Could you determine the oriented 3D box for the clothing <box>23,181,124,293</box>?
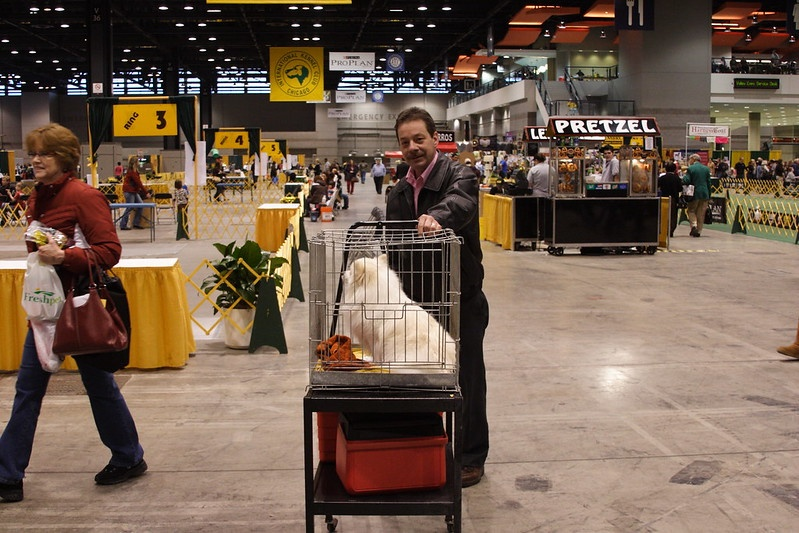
[{"bbox_3d":[-2.311,-0.243,4.801,0.617,0.783,0.392,-2,7,-14],"label":"clothing"}]

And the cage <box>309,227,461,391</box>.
[{"bbox_3d":[-0.134,0.200,4.289,1.163,1.012,0.904,1,-5,-5],"label":"cage"}]

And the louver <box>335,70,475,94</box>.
[{"bbox_3d":[0.037,-16.797,62.482,10.282,1.998,6.706,-1,7,-10],"label":"louver"}]

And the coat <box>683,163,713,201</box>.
[{"bbox_3d":[7.663,-2.176,17.519,0.803,0.949,0.662,-3,-5,-9],"label":"coat"}]

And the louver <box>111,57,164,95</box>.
[{"bbox_3d":[-22.566,-16.027,57.753,4.216,2.600,2.475,6,25,8],"label":"louver"}]

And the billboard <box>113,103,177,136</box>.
[{"bbox_3d":[-6.444,-3.713,17.151,1.558,0.854,0.016,-11,30,-37],"label":"billboard"}]

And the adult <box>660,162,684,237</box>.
[{"bbox_3d":[6.962,-1.723,17.365,0.580,1.924,1.867,3,8,22],"label":"adult"}]

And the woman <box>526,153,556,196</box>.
[{"bbox_3d":[3.214,-1.867,15.425,0.625,1.513,0.497,-10,35,-5],"label":"woman"}]

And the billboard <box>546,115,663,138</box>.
[{"bbox_3d":[4.744,-3.275,15.773,2.562,0.505,0.720,-1,7,-7],"label":"billboard"}]

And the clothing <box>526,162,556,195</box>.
[{"bbox_3d":[3.207,-1.959,15.262,0.631,0.698,0.366,-8,15,-17],"label":"clothing"}]

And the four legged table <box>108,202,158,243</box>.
[{"bbox_3d":[-6.441,-1.073,16.491,0.942,0.956,1.618,2,4,0],"label":"four legged table"}]

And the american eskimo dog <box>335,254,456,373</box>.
[{"bbox_3d":[0.011,0.291,4.032,0.738,0.643,0.427,12,22,22],"label":"american eskimo dog"}]

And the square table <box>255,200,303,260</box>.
[{"bbox_3d":[-2.611,-0.845,14.543,0.878,0.891,0.979,-1,7,-9],"label":"square table"}]

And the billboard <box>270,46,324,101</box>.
[{"bbox_3d":[-3.559,-6.720,23.535,2.126,1.939,0.208,-1,15,1],"label":"billboard"}]

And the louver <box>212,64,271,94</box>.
[{"bbox_3d":[-13.465,-16.283,58.400,4.760,2.074,10.595,-2,8,-15],"label":"louver"}]
